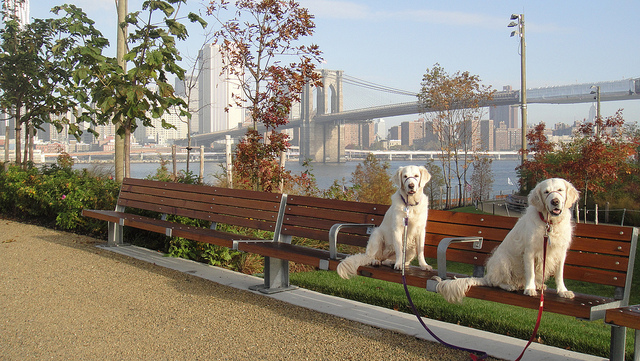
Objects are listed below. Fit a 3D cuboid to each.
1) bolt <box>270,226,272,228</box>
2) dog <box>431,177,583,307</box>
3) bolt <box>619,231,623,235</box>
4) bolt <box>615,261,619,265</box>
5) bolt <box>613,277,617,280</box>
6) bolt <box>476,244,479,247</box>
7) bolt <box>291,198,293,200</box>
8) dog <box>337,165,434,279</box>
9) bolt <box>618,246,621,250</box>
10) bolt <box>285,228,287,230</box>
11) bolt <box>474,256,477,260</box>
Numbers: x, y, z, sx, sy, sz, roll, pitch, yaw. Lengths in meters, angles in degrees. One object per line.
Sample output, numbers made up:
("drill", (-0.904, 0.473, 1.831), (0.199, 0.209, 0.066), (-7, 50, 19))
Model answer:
("bolt", (-0.798, 0.760, 9.266), (0.043, 0.020, 0.021), (-5, -19, 19))
("dog", (2.642, 0.834, 7.948), (0.888, 1.342, 2.246), (7, -9, -31))
("bolt", (4.013, 0.697, 7.442), (0.031, 0.036, 0.006), (3, 3, 12))
("bolt", (3.950, 1.089, 7.424), (0.037, 0.043, 0.008), (3, 3, 9))
("bolt", (3.914, 1.288, 7.412), (0.046, 0.035, 0.006), (3, 3, 16))
("bolt", (2.255, 0.921, 7.993), (0.022, 0.032, 0.055), (-3, -1, 28))
("bolt", (-0.453, 0.304, 9.222), (0.035, 0.032, 0.008), (11, 2, 9))
("dog", (1.024, 0.566, 8.168), (1.278, 1.419, 1.245), (-5, -3, 42))
("bolt", (3.987, 0.889, 7.435), (0.043, 0.040, 0.010), (13, 3, 44))
("bolt", (-0.547, 0.789, 9.148), (0.031, 0.027, 0.026), (7, 21, 9))
("bolt", (2.237, 1.107, 8.013), (0.039, 0.020, 0.036), (-2, 15, 4))
